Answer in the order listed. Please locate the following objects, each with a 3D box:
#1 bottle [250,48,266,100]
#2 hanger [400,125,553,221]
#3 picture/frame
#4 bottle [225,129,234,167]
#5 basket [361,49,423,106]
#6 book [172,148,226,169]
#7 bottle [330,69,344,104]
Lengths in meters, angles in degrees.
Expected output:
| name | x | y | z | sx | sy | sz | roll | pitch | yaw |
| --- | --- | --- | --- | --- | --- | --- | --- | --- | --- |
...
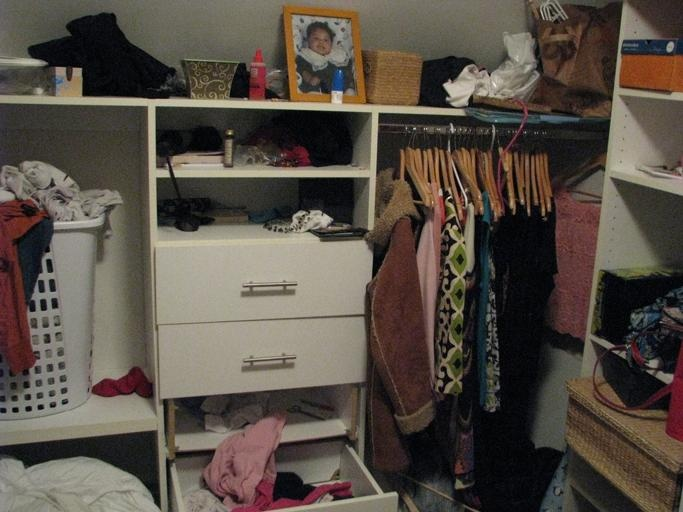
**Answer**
| name | x | y | z | sx | sy | sz | roll | pitch | yaw |
| --- | --- | --- | --- | --- | --- | --- | --- | --- | --- |
| bottle | -0.318 | -0.677 | 2.089 | 0.067 | 0.183 | 0.097 | -6 | 15 | -8 |
| hanger | 0.557 | -0.334 | 2.269 | 0.454 | 0.234 | 0.361 | -3 | 23 | -7 |
| picture/frame | -0.072 | -0.784 | 2.199 | 0.421 | 0.520 | 0.021 | 1 | -14 | -20 |
| bottle | -0.434 | -0.412 | 2.136 | 0.046 | 0.135 | 0.081 | -7 | 15 | -11 |
| basket | 0.209 | -0.701 | 2.280 | 0.200 | 0.189 | 0.244 | 0 | 13 | -1 |
| book | -0.544 | -0.369 | 2.137 | 0.203 | 0.058 | 0.135 | -15 | 19 | -32 |
| bottle | -0.017 | -0.646 | 2.132 | 0.056 | 0.121 | 0.043 | -9 | 16 | -17 |
